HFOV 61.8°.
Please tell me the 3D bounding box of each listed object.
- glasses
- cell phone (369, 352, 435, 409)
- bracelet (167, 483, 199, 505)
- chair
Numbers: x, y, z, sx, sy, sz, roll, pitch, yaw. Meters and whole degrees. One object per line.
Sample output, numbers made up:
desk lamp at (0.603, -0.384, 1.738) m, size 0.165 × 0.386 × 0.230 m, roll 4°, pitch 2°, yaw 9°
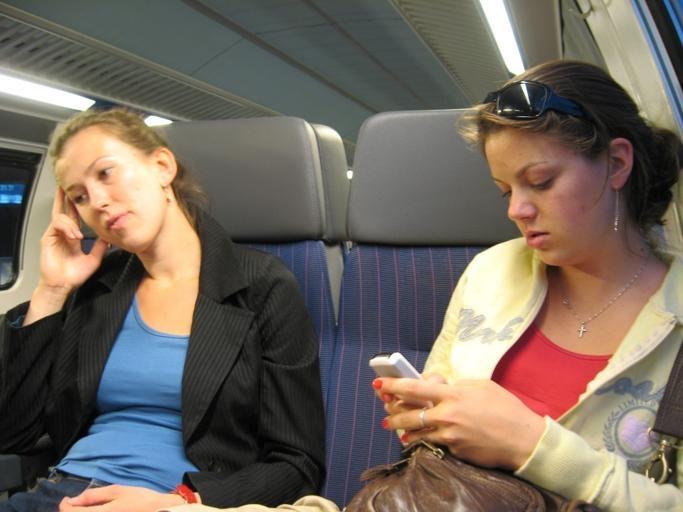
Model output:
glasses at (0.533, -0.411, 1.542) m, size 0.160 × 0.053 × 0.166 m, roll 22°, pitch -2°, yaw -18°
cell phone at (0.154, 0.283, 1.477) m, size 0.118 × 0.088 × 0.146 m, roll 6°, pitch 5°, yaw 35°
bracelet at (-0.470, 0.708, 1.687) m, size 0.075 × 0.023 × 0.047 m, roll 31°, pitch 19°, yaw 15°
chair at (-0.169, 0.158, 2.841) m, size 1.849 × 1.747 × 1.309 m, roll -5°, pitch 2°, yaw 7°
